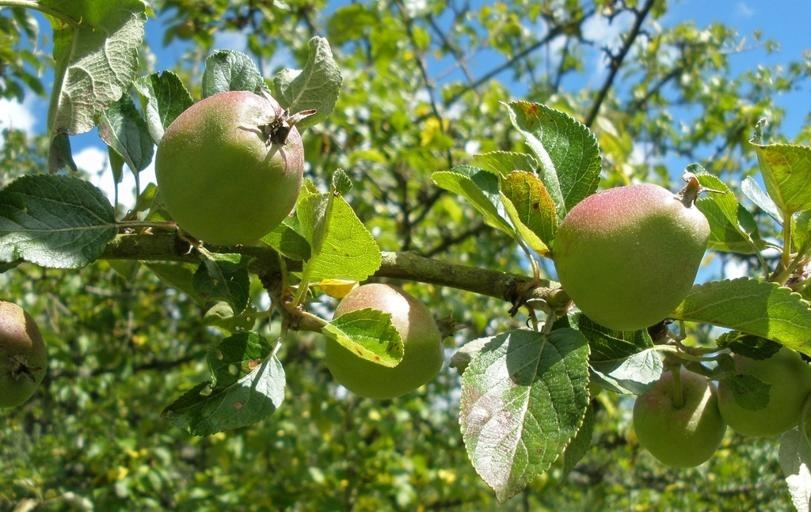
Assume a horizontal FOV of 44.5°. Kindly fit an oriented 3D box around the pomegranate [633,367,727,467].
[{"bbox_3d":[1.149,0.676,4.157,0.372,0.335,0.153,33,20,16],"label":"pomegranate"}]

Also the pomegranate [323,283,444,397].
[{"bbox_3d":[-0.093,0.363,4.055,0.482,0.429,0.193,28,19,3],"label":"pomegranate"}]

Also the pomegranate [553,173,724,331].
[{"bbox_3d":[0.875,-0.002,3.852,0.414,0.521,0.394,39,-12,-28],"label":"pomegranate"}]
